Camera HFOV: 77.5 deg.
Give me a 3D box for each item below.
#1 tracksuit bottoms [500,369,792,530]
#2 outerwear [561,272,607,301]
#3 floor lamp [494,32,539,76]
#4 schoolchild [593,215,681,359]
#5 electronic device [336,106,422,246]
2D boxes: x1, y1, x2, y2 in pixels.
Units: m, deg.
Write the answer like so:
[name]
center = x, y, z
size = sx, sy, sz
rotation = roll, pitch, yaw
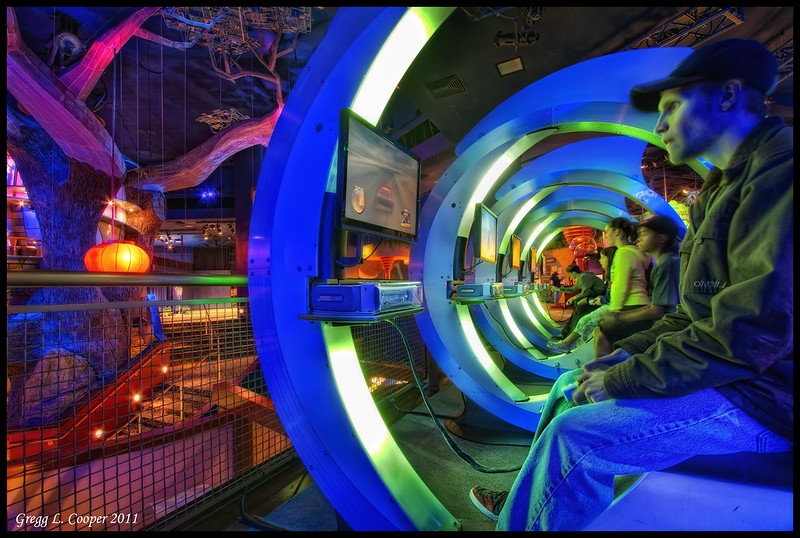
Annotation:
[tracksuit bottoms]
center = 1.622, 1.289, 3.787
size = 1.877, 0.779, 0.862
rotation = -20, -3, 13
[outerwear]
center = 2.877, 0.247, 7.961
size = 0.730, 0.464, 0.544
rotation = 1, -1, 30
[floor lamp]
center = 1.195, -2.251, 5.143
size = 0.359, 0.165, 0.388
rotation = -5, -34, 26
[schoolchild]
center = 2.332, 0.200, 5.367
size = 0.901, 1.680, 0.936
rotation = 1, 5, 12
[electronic device]
center = -0.147, -0.749, 4.104
size = 0.171, 0.947, 0.877
rotation = -8, -8, 42
